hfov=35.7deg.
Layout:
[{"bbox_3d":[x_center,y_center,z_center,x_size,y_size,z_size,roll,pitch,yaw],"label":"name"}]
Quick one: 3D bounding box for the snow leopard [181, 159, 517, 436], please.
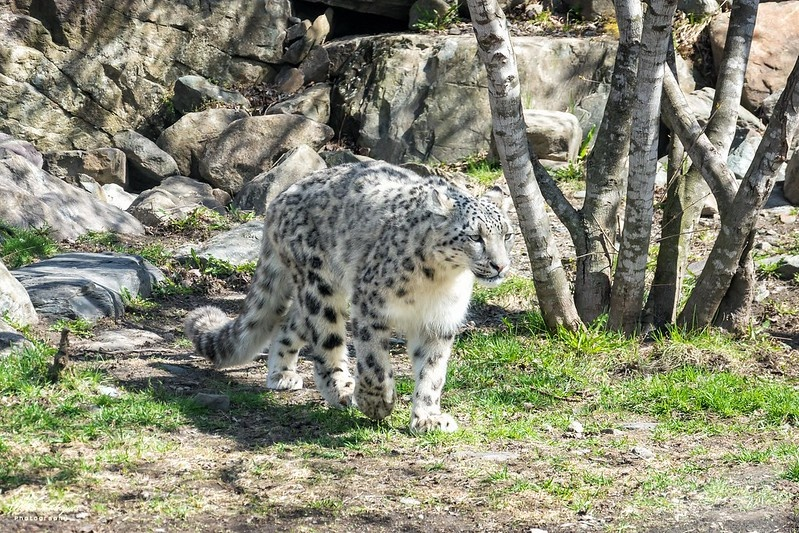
[{"bbox_3d":[-0.415,0.274,14.434,3.395,2.826,1.089,10,13,33],"label":"snow leopard"}]
